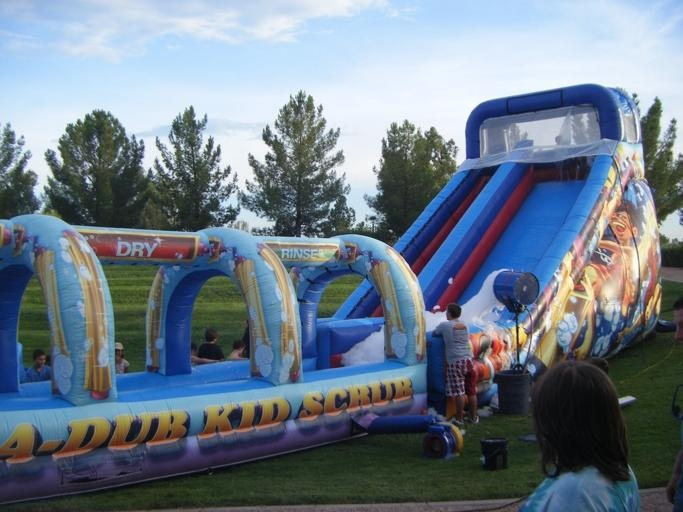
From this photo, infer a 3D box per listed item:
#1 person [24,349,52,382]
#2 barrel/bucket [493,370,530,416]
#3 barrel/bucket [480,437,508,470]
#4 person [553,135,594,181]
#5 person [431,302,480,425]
[{"bbox_3d":[-3.805,1.364,9.283,0.299,0.376,0.863,-3,5,-24],"label":"person"},{"bbox_3d":[2.259,1.797,9.912,0.528,0.499,0.494,-1,-5,0],"label":"barrel/bucket"},{"bbox_3d":[1.618,2.070,7.875,0.288,0.281,0.293,0,-6,0],"label":"barrel/bucket"},{"bbox_3d":[4.018,-1.652,12.957,0.977,0.620,0.884,-1,-4,-10],"label":"person"},{"bbox_3d":[1.512,1.388,9.688,0.529,1.520,0.563,-1,5,3],"label":"person"}]
